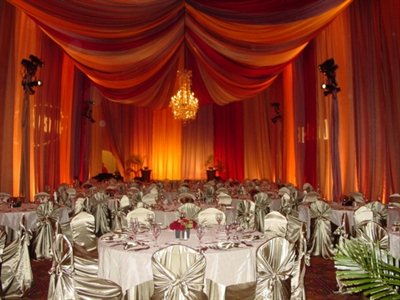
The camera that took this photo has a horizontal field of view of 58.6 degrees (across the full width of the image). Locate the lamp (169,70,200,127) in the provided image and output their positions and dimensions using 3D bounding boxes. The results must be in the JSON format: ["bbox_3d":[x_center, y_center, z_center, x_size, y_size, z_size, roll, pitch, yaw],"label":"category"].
[{"bbox_3d":[-0.519,-1.691,11.209,0.792,1.751,0.645,-2,-12,1],"label":"lamp"}]

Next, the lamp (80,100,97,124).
[{"bbox_3d":[-4.714,-1.754,14.848,0.701,0.637,1.018,18,-16,-23],"label":"lamp"}]

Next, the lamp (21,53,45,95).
[{"bbox_3d":[-4.403,-2.104,9.358,0.533,0.862,0.477,29,24,17],"label":"lamp"}]
